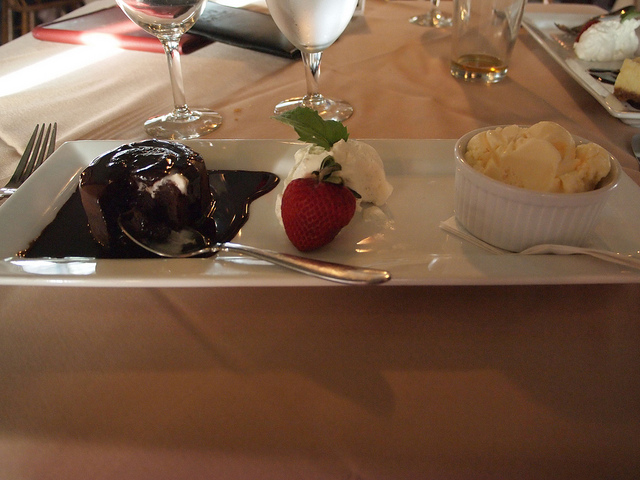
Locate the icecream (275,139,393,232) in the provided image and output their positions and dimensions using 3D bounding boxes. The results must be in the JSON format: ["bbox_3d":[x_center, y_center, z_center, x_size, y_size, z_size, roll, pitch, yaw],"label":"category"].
[{"bbox_3d":[0.008,-0.142,0.890,0.104,0.047,0.112,-26,52,-25],"label":"icecream"}]

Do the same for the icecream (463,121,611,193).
[{"bbox_3d":[0.313,-0.169,0.882,0.237,0.106,0.167,9,18,-8],"label":"icecream"}]

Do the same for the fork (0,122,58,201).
[{"bbox_3d":[-0.525,-0.137,0.972,0.025,0.024,0.195,-1,54,19],"label":"fork"}]

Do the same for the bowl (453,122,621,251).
[{"bbox_3d":[0.335,-0.099,0.856,0.230,0.141,0.240,1,37,-1],"label":"bowl"}]
